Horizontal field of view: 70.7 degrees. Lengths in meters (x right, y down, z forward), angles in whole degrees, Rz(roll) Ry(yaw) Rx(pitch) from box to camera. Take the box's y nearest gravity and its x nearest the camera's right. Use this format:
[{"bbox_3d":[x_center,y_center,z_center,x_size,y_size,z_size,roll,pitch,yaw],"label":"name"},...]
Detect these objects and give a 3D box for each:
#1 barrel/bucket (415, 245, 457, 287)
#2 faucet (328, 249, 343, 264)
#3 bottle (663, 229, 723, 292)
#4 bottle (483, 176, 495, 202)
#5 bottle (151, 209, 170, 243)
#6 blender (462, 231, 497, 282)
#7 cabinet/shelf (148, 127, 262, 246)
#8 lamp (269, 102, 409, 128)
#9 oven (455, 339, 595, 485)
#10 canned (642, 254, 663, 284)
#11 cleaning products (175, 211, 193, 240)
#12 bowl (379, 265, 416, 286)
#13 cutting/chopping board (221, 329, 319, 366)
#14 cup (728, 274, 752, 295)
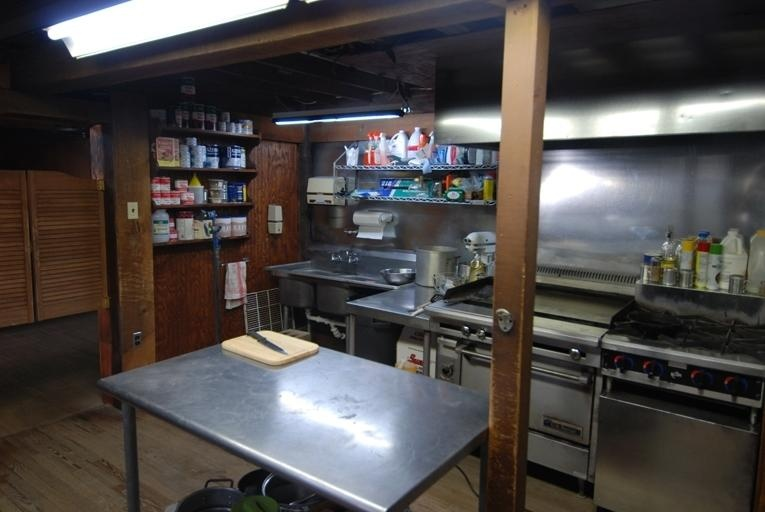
[{"bbox_3d":[0.432,0.095,4.700,0.392,0.256,0.300,6,7,36],"label":"barrel/bucket"},{"bbox_3d":[-0.541,0.011,6.298,0.171,0.139,0.059,0,-7,28],"label":"faucet"},{"bbox_3d":[2.183,0.027,3.815,0.379,0.457,0.444,9,12,42],"label":"bottle"},{"bbox_3d":[0.976,-0.620,4.949,0.102,0.212,0.089,4,11,11],"label":"bottle"},{"bbox_3d":[-2.096,-0.277,5.106,0.160,0.316,0.104,-8,15,-41],"label":"bottle"},{"bbox_3d":[0.859,-0.005,4.688,0.464,0.420,0.308,2,-2,-42],"label":"blender"},{"bbox_3d":[-1.796,-0.707,5.365,0.429,1.286,1.411,0,2,27],"label":"cabinet/shelf"},{"bbox_3d":[-0.393,-1.216,4.611,1.322,0.117,0.347,10,13,42],"label":"lamp"},{"bbox_3d":[1.188,1.009,4.168,1.117,0.948,0.769,7,5,40],"label":"oven"},{"bbox_3d":[1.949,0.104,3.910,0.137,0.188,0.120,6,12,21],"label":"canned"},{"bbox_3d":[-1.925,-0.284,5.283,0.147,0.272,0.106,-4,13,-27],"label":"cleaning products"},{"bbox_3d":[0.178,0.205,5.583,0.310,0.124,0.511,3,10,5],"label":"bowl"},{"bbox_3d":[-0.716,0.577,3.341,0.382,0.047,0.267,9,11,34],"label":"cutting/chopping board"},{"bbox_3d":[2.386,0.206,3.632,0.145,0.109,0.106,-3,5,-23],"label":"cup"}]
